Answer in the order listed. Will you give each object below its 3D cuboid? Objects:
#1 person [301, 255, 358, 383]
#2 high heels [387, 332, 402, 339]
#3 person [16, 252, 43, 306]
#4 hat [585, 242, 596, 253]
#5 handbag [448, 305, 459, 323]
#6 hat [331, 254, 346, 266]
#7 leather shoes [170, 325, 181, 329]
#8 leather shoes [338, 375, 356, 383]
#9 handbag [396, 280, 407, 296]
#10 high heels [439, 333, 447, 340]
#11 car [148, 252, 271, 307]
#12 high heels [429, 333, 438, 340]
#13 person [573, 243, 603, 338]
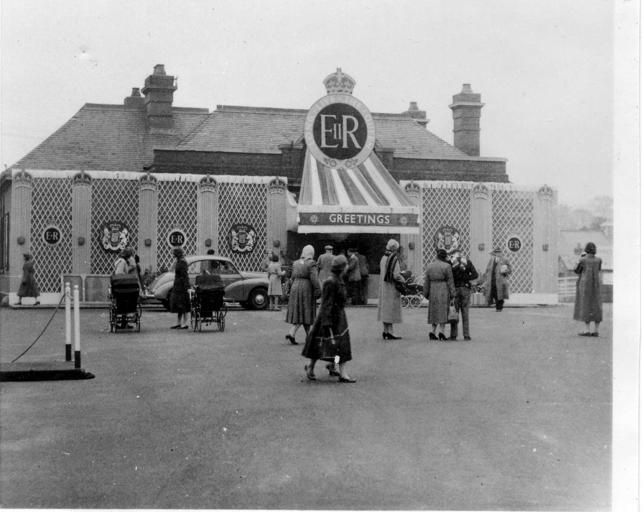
[{"bbox_3d":[0.117,1.030,16.142,0.835,2.051,0.785,0,5,-1],"label":"person"},{"bbox_3d":[1.555,1.754,21.692,0.338,0.183,0.124,1,-2,-12],"label":"high heels"},{"bbox_3d":[-9.237,0.733,31.102,0.571,1.681,1.165,0,5,-4],"label":"person"},{"bbox_3d":[5.900,-0.177,21.905,0.186,0.309,0.214,0,-4,-6],"label":"hat"},{"bbox_3d":[2.833,1.257,21.552,0.110,0.338,0.302,-6,-10,29],"label":"handbag"},{"bbox_3d":[0.264,0.079,16.026,0.175,0.171,0.149,-8,3,17],"label":"hat"},{"bbox_3d":[-3.439,1.664,23.262,0.093,0.154,0.299,2,1,-44],"label":"leather shoes"},{"bbox_3d":[0.403,1.983,16.039,0.263,0.134,0.107,-3,0,7],"label":"leather shoes"},{"bbox_3d":[1.726,0.702,21.644,0.218,0.367,0.294,-4,-9,4],"label":"handbag"},{"bbox_3d":[2.648,1.767,21.751,0.207,0.147,0.447,1,6,7],"label":"high heels"},{"bbox_3d":[-3.140,0.856,29.184,2.438,1.381,1.751,-2,2,-21],"label":"car"},{"bbox_3d":[2.428,1.769,21.784,0.078,0.129,0.266,2,6,17],"label":"high heels"},{"bbox_3d":[5.897,0.759,22.028,0.587,2.116,0.596,2,5,21],"label":"person"}]
